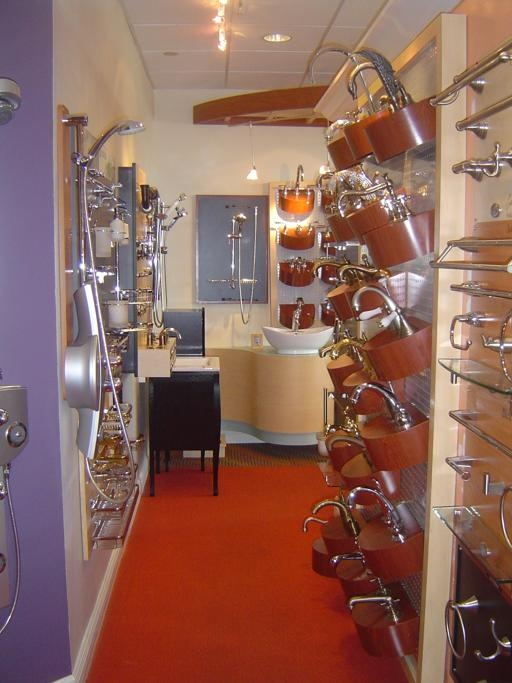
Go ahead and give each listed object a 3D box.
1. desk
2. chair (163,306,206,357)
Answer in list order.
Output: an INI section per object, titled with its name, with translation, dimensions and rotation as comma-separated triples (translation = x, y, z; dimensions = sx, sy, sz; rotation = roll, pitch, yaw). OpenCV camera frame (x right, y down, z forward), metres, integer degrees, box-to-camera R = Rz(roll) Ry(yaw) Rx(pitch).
[desk]
translation = -0.418, 0.525, 3.774
dimensions = 0.675, 1.349, 0.691
rotation = 0, 4, -3
[chair]
translation = -0.546, -0.072, 3.896
dimensions = 0.307, 0.355, 0.258
rotation = -1, 5, -10
